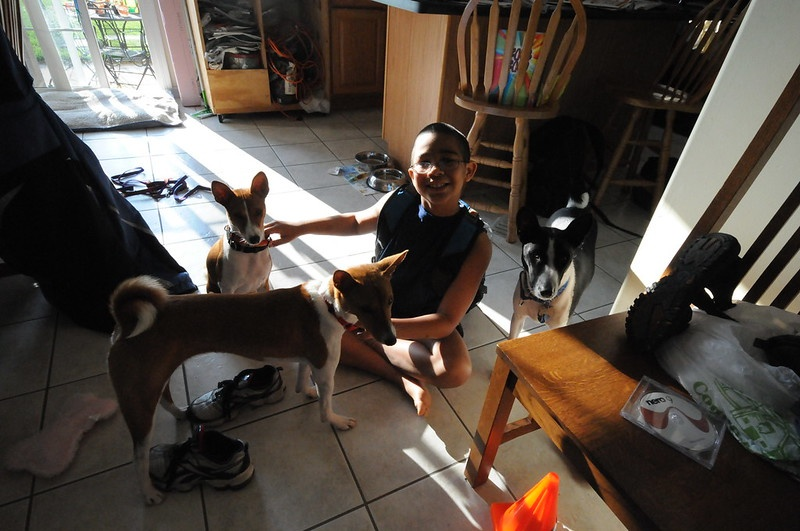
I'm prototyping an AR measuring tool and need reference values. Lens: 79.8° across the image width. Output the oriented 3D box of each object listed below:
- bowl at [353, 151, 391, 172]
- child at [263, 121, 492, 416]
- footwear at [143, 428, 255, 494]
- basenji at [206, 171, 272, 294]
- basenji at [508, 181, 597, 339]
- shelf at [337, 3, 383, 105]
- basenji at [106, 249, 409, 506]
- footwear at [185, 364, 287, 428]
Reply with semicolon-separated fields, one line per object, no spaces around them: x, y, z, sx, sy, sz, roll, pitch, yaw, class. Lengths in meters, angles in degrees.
-0.231;-0.913;4.125;0.220;0.057;0.221;5;34;-3;bowl
-0.002;-0.076;2.447;1.044;1.260;0.845;13;17;15;child
-0.874;0.826;2.058;0.468;0.227;0.195;2;24;-7;footwear
-0.894;-0.126;2.611;0.331;0.727;0.793;-4;12;-28;basenji
0.841;-0.184;2.497;0.283;0.752;1.066;11;42;19;basenji
-0.428;-2.245;4.996;0.605;0.839;0.138;-19;41;-29;shelf
-0.579;0.396;2.015;1.093;0.849;0.332;-6;36;-15;basenji
-0.770;0.610;2.325;0.460;0.200;0.208;-17;57;-22;footwear
